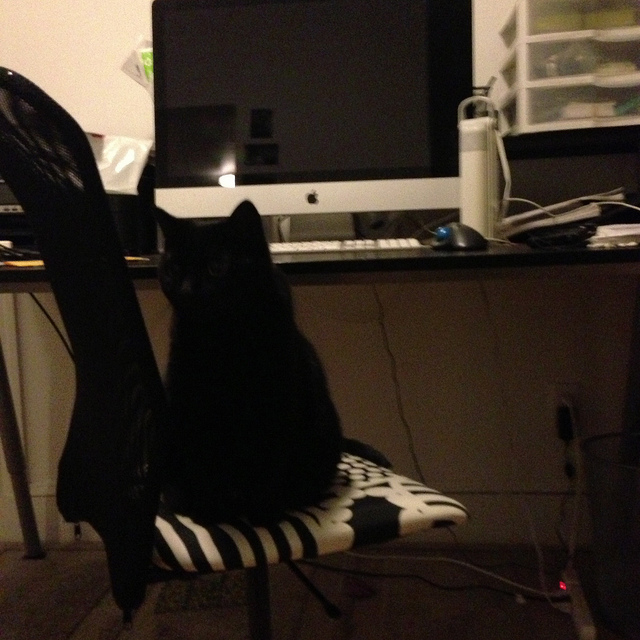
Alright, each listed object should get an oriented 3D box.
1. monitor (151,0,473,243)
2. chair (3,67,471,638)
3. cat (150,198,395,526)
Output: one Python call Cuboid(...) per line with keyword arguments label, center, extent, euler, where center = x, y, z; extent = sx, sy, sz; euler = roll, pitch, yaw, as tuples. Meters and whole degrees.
Cuboid(label="monitor", center=(-0.012, -0.428, 1.550), extent=(0.486, 0.397, 0.138), euler=(-1, 4, 2))
Cuboid(label="chair", center=(-0.169, 0.039, 1.596), extent=(0.757, 1.162, 0.657), euler=(-2, 5, -17))
Cuboid(label="cat", center=(-0.078, 0.014, 1.119), extent=(0.303, 0.413, 0.232), euler=(-8, 17, -22))
